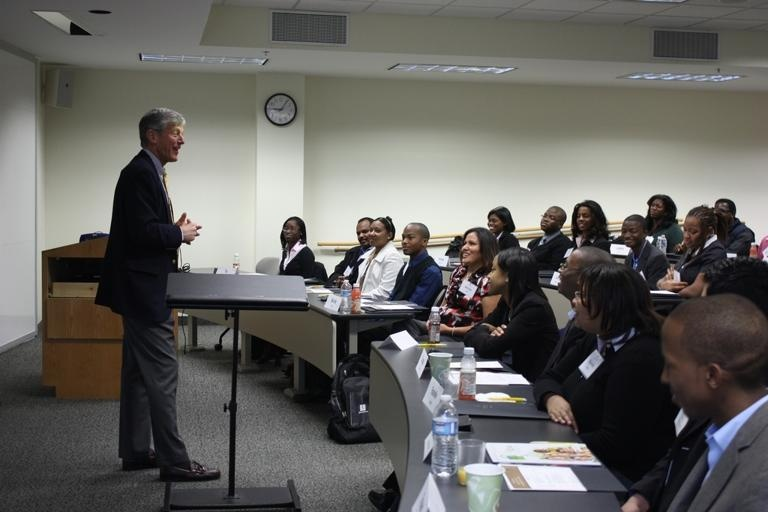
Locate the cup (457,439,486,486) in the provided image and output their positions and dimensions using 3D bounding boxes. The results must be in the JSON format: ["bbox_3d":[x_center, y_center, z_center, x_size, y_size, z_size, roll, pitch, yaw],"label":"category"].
[{"bbox_3d":[0.289,0.725,1.899,0.101,0.129,0.120,1,-4,-1],"label":"cup"}]

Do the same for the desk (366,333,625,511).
[{"bbox_3d":[0.382,0.867,2.543,0.794,0.454,1.631,3,5,-4],"label":"desk"}]

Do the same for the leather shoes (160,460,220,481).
[{"bbox_3d":[-1.175,1.302,3.325,0.368,0.138,0.143,0,-2,-11],"label":"leather shoes"}]

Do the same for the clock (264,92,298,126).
[{"bbox_3d":[-1.468,-2.066,7.627,0.448,0.461,0.074,1,3,-5],"label":"clock"}]

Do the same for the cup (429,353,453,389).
[{"bbox_3d":[0.277,0.576,2.779,0.133,0.136,0.135,0,-6,0],"label":"cup"}]

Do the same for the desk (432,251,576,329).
[{"bbox_3d":[1.243,0.241,6.202,1.640,0.592,0.432,-2,12,21],"label":"desk"}]

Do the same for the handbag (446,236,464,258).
[{"bbox_3d":[0.958,-0.121,7.333,0.116,0.325,0.212,22,-3,-41],"label":"handbag"}]

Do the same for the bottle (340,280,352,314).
[{"bbox_3d":[-0.304,0.317,4.449,0.090,0.224,0.337,3,5,-4],"label":"bottle"}]
